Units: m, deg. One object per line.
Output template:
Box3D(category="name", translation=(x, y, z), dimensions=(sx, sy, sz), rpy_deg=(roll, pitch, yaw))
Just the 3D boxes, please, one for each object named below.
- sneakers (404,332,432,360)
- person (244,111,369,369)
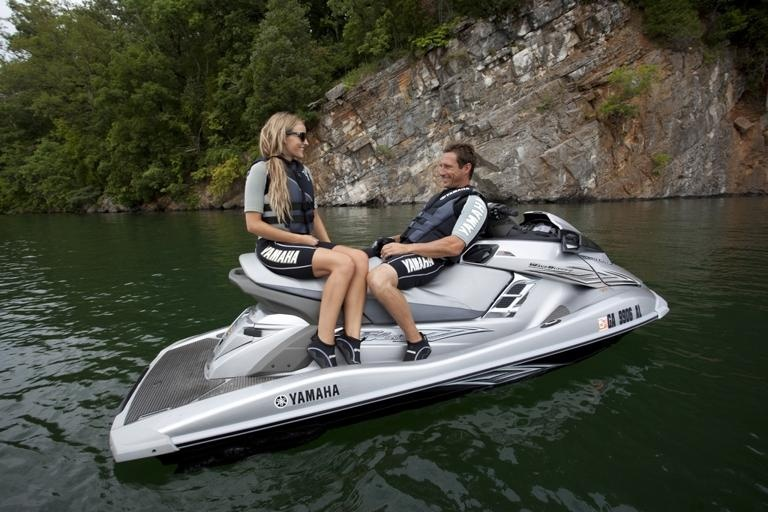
Box3D(category="sneakers", translation=(0.352, 0.973, 5.564), dimensions=(0.315, 0.258, 0.260), rpy_deg=(-5, 12, -12))
Box3D(category="person", translation=(-0.838, -0.218, 5.531), dimensions=(0.782, 2.675, 1.239), rpy_deg=(-15, 18, -40))
